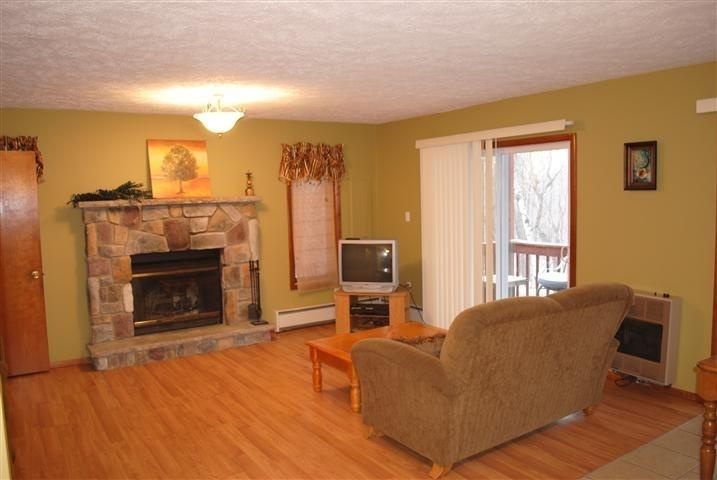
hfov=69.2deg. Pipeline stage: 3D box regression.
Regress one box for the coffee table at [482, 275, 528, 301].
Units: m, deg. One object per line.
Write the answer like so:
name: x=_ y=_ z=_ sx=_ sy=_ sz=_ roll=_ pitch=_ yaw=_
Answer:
coffee table: x=1.900 y=0.540 z=6.518 sx=0.410 sy=0.342 sz=0.387 roll=2 pitch=7 yaw=14

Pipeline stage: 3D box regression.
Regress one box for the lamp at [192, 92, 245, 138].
lamp: x=-1.356 y=-1.260 z=5.109 sx=0.453 sy=0.344 sz=0.437 roll=0 pitch=6 yaw=32

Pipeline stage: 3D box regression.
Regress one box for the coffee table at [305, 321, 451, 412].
coffee table: x=0.103 y=1.431 z=5.179 sx=0.878 sy=0.424 sz=1.275 roll=2 pitch=-4 yaw=-41

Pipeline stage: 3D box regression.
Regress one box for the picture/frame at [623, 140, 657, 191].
picture/frame: x=2.755 y=-0.729 z=5.070 sx=0.073 sy=0.464 sz=0.327 roll=-16 pitch=20 yaw=-41

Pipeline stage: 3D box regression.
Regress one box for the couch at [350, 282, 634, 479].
couch: x=1.069 y=0.742 z=4.398 sx=2.694 sy=1.501 sz=1.471 roll=-2 pitch=3 yaw=-35
